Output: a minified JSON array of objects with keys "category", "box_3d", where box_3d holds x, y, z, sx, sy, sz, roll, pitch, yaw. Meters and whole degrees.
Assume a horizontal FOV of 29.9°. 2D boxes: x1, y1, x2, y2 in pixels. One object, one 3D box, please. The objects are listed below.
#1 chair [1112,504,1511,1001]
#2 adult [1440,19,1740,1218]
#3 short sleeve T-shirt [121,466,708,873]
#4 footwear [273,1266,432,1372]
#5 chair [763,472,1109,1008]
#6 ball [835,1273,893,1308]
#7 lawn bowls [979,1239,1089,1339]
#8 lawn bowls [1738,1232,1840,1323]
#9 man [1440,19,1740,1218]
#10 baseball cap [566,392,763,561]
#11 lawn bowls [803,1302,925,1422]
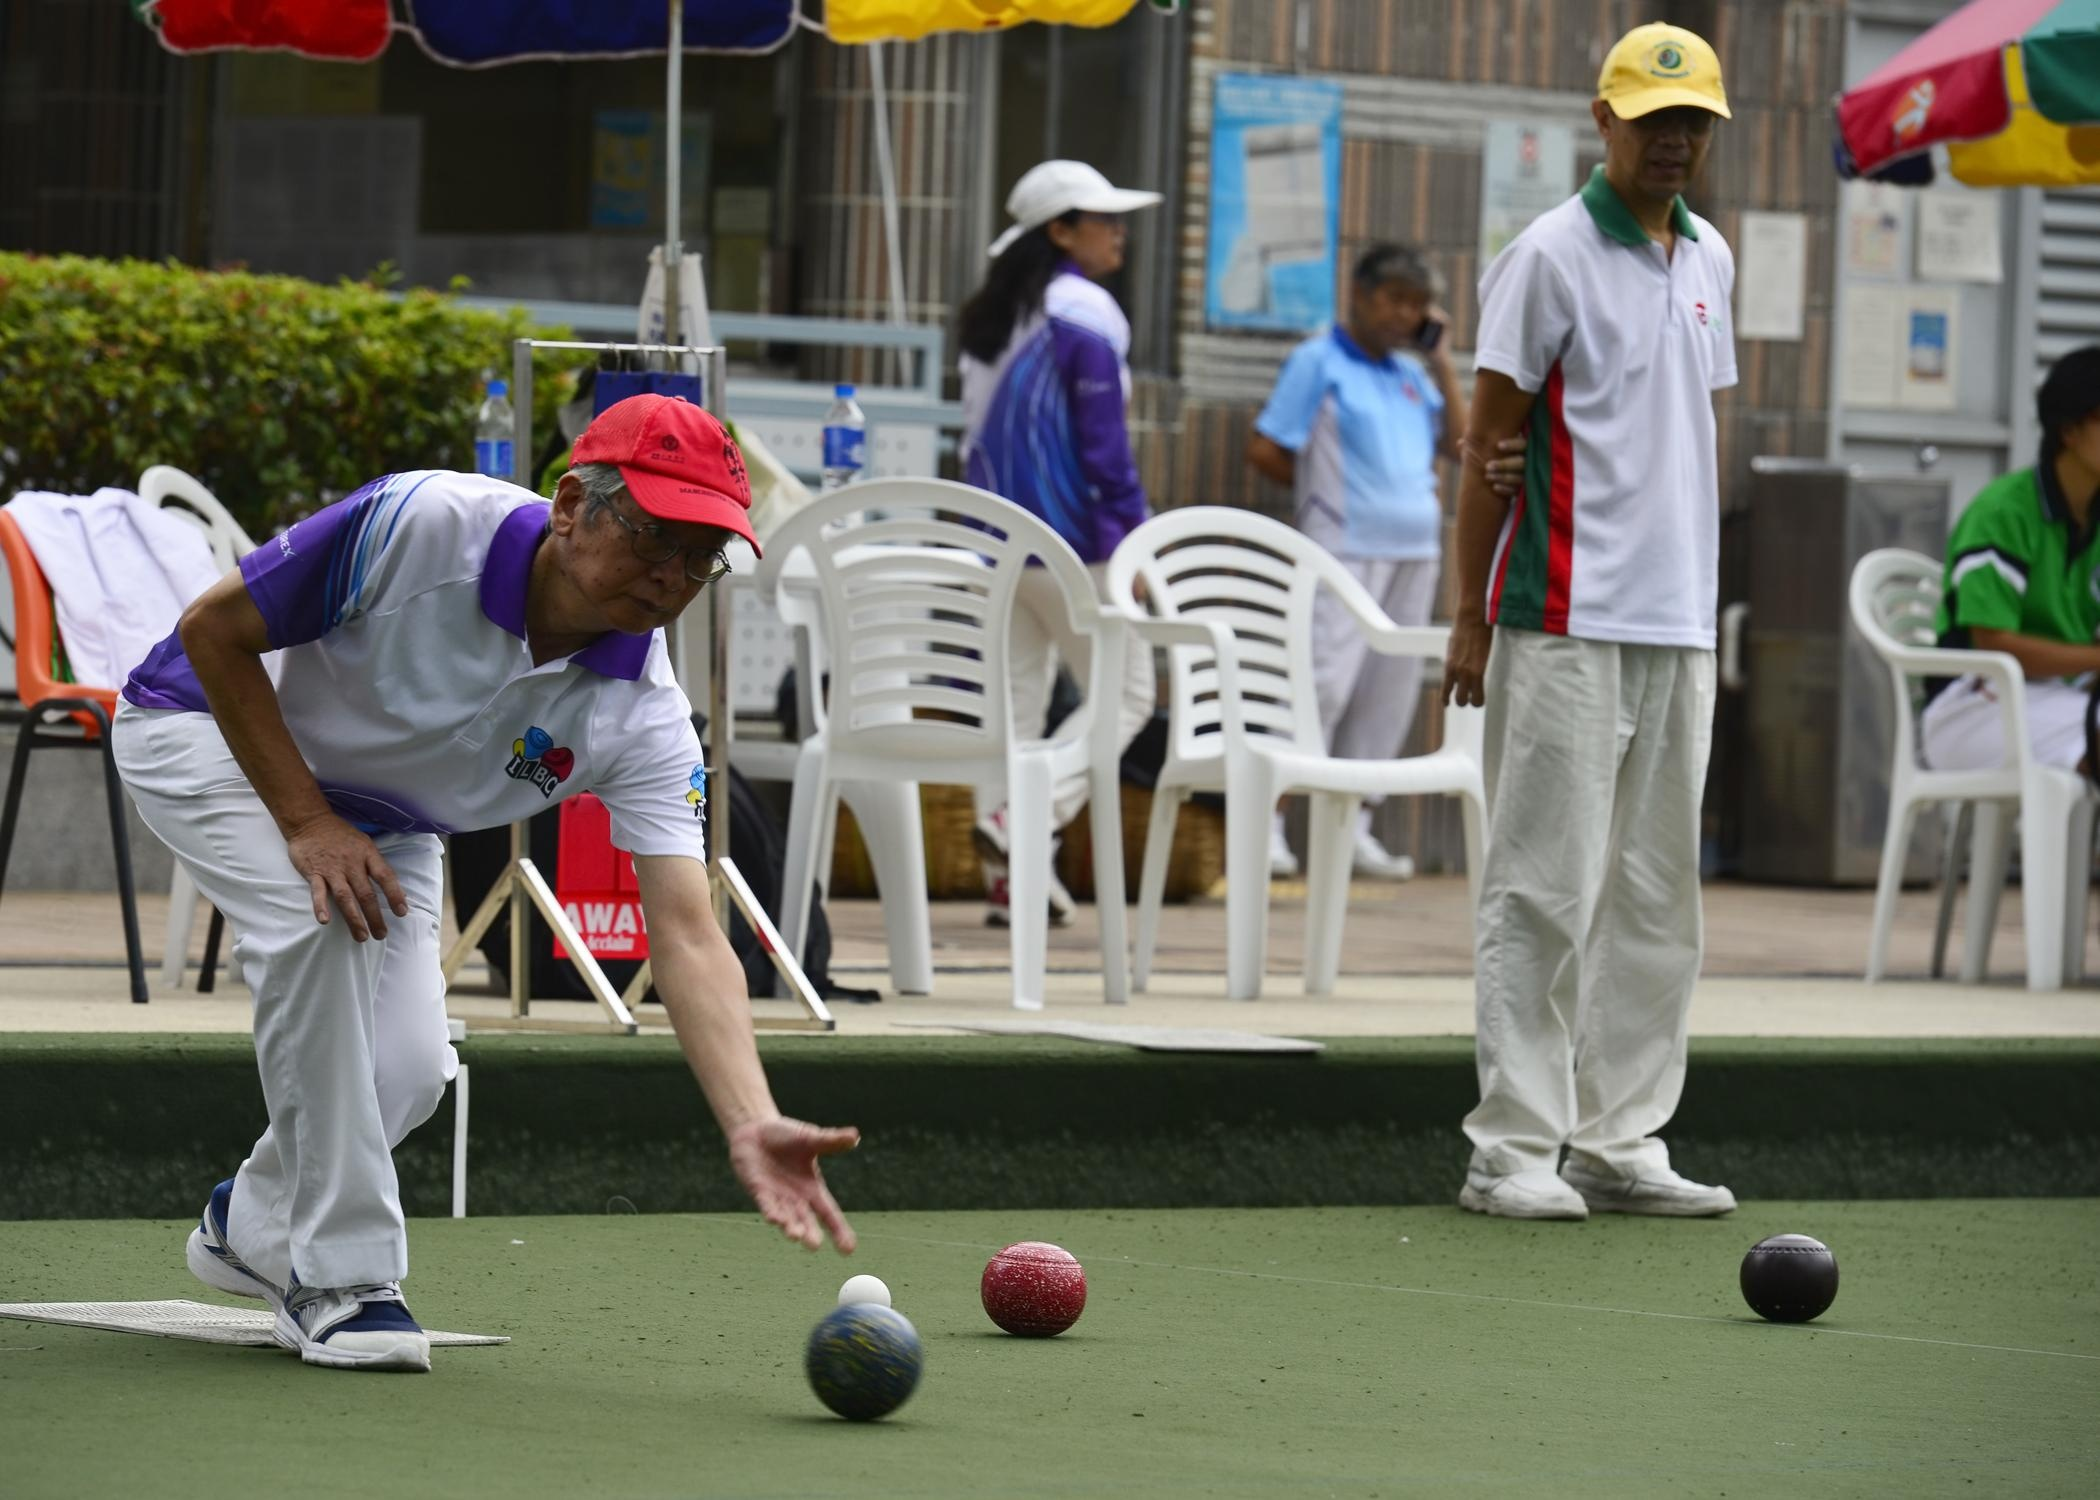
[{"category":"chair","box_3d":[0.572,0.029,10.541,1.106,1.778,1.102,1,-3,-33]},{"category":"adult","box_3d":[1.206,-0.277,8.627,0.621,2.609,0.300,-1,6,-15]},{"category":"short sleeve T-shirt","box_3d":[-1.066,-0.158,7.388,0.827,0.716,0.253,1,5,4]},{"category":"footwear","box_3d":[-1.293,1.061,7.370,0.297,0.160,0.127,1,-7,39]},{"category":"chair","box_3d":[-0.193,-0.062,10.290,1.038,1.744,1.131,2,2,13]},{"category":"ball","box_3d":[-0.344,1.029,7.467,0.070,0.089,0.074,16,-8,2]},{"category":"lawn bowls","box_3d":[-0.020,1.031,7.648,0.154,0.153,0.167,2,5,0]},{"category":"lawn bowls","box_3d":[1.488,1.052,7.884,0.146,0.171,0.164,-3,5,6]},{"category":"man","box_3d":[1.206,-0.277,8.627,0.621,2.609,0.300,-1,6,-15]},{"category":"baseball cap","box_3d":[-0.686,-0.518,7.197,0.309,0.199,0.216,31,12,24]},{"category":"lawn bowls","box_3d":[-0.324,1.106,7.096,0.174,0.212,0.196,2,-12,-19]}]
